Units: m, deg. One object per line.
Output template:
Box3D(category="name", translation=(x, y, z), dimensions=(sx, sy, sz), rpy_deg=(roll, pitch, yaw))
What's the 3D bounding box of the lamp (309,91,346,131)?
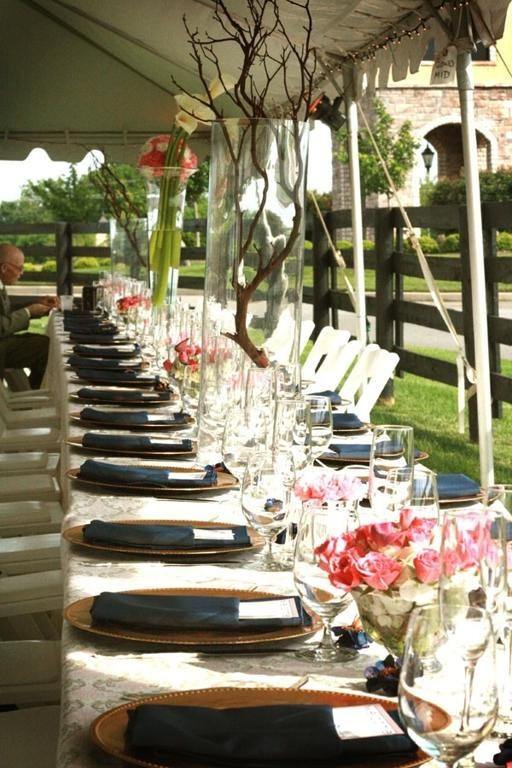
Box3D(category="lamp", translation=(0.617, -2.363, 5.199), dimensions=(0.281, 0.277, 0.694), rpy_deg=(2, 1, 7))
